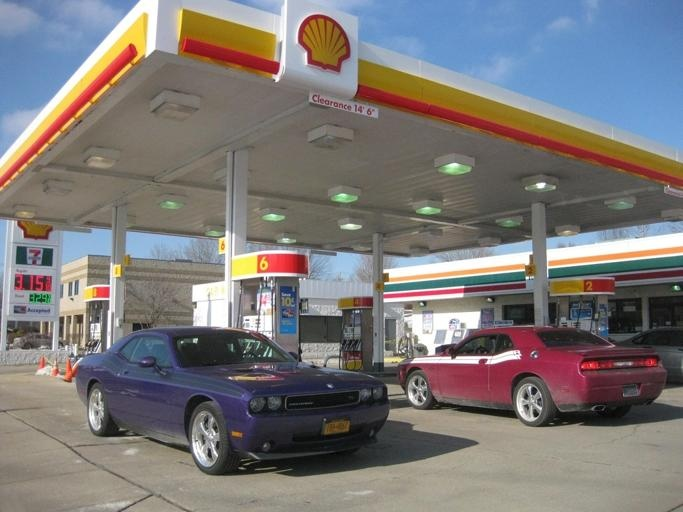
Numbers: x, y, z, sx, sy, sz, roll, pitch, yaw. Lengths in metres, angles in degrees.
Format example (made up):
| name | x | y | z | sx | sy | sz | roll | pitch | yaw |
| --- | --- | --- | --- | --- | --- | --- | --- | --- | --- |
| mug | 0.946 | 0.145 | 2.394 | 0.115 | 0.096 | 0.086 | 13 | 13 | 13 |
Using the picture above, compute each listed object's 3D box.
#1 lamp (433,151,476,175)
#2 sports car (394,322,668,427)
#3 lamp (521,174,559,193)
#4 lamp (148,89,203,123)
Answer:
| name | x | y | z | sx | sy | sz | roll | pitch | yaw |
| --- | --- | --- | --- | --- | --- | --- | --- | --- | --- |
| lamp | 3.013 | -2.486 | 14.012 | 0.904 | 0.425 | 0.801 | 5 | -2 | -30 |
| sports car | 3.253 | 2.170 | 10.021 | 2.066 | 1.168 | 4.105 | 6 | -6 | -39 |
| lamp | 5.815 | -2.156 | 15.409 | 0.630 | 0.209 | 0.664 | -5 | -13 | 39 |
| lamp | -3.194 | -2.942 | 10.170 | 0.596 | 0.238 | 0.568 | -13 | -19 | 37 |
